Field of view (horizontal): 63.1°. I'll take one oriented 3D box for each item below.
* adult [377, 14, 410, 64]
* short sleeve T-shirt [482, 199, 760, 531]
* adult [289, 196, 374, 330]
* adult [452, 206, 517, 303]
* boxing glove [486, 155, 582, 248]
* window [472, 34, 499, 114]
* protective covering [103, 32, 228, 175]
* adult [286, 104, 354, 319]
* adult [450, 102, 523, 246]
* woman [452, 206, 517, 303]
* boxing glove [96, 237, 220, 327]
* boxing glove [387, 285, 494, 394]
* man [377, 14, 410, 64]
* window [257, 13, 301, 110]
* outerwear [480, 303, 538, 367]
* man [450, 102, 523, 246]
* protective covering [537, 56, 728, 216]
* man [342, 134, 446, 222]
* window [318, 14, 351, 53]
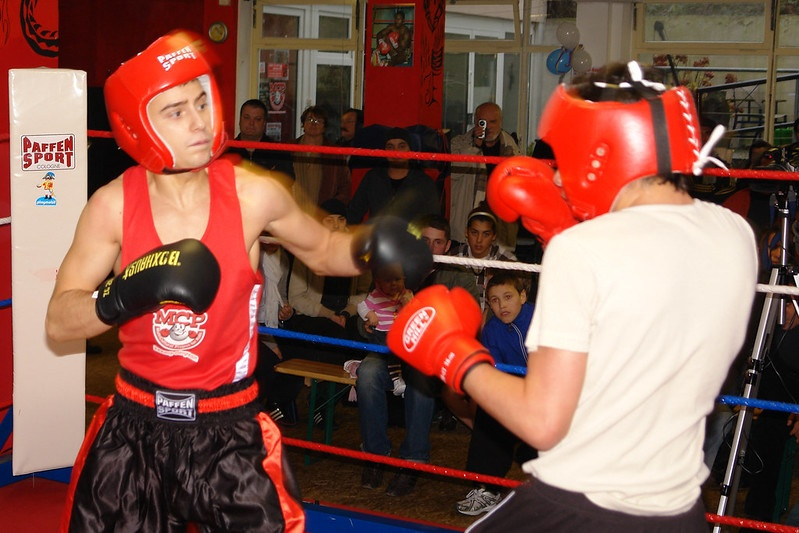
[{"bbox_3d":[-0.040,-2.287,6.892,0.372,0.663,0.283,-15,24,-30],"label":"adult"},{"bbox_3d":[0.501,0.197,1.396,0.501,0.652,0.183,-2,12,-20],"label":"short sleeve T-shirt"},{"bbox_3d":[-0.405,0.087,4.066,0.519,0.572,0.859,-12,-16,-12],"label":"adult"},{"bbox_3d":[0.479,-0.041,3.921,0.488,0.686,0.434,3,5,4],"label":"adult"},{"bbox_3d":[0.340,-0.176,1.726,0.183,0.123,0.250,-41,70,-8],"label":"boxing glove"},{"bbox_3d":[1.050,-2.304,8.007,0.304,0.723,0.040,3,48,10],"label":"window"},{"bbox_3d":[-0.622,-0.446,1.864,0.292,0.372,0.376,-29,17,-35],"label":"protective covering"},{"bbox_3d":[-0.622,-0.386,5.057,0.584,1.843,0.557,-3,-22,-10],"label":"adult"},{"bbox_3d":[0.738,-0.726,5.733,0.571,1.412,0.404,4,39,6],"label":"adult"},{"bbox_3d":[0.477,-0.040,3.916,0.476,0.667,0.423,6,5,13],"label":"woman"},{"bbox_3d":[-0.582,0.050,1.633,0.283,0.177,0.110,-16,-26,19],"label":"boxing glove"},{"bbox_3d":[0.095,0.178,1.545,0.206,0.104,0.256,-37,52,-13],"label":"boxing glove"},{"bbox_3d":[-0.037,-2.297,6.904,0.377,0.679,0.266,-10,25,-19],"label":"man"},{"bbox_3d":[-1.642,-2.670,8.597,0.490,1.335,0.036,-5,47,-17],"label":"window"},{"bbox_3d":[0.595,0.347,3.408,0.306,0.323,0.174,-16,38,10],"label":"outerwear"},{"bbox_3d":[0.732,-0.717,5.755,0.602,1.485,0.433,6,42,7],"label":"man"},{"bbox_3d":[0.510,-0.284,1.464,0.370,0.310,0.288,4,10,23],"label":"protective covering"},{"bbox_3d":[-0.036,-0.560,4.637,0.704,0.843,0.449,1,-6,10],"label":"man"},{"bbox_3d":[-0.832,-2.988,8.272,0.436,0.455,0.104,12,10,23],"label":"window"}]
